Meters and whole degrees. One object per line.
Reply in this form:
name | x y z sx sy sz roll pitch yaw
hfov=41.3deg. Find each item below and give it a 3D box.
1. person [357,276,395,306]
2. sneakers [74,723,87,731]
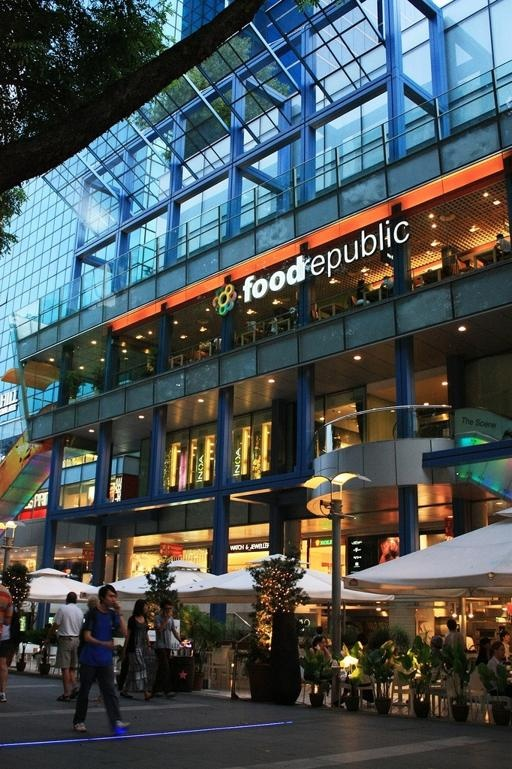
person | 3.656 -2.855 21.300 0.350 0.862 1.678 14 -20 -39
sneakers | -1.780 3.466 6.890 0.067 0.076 0.195 11 -21 -32
